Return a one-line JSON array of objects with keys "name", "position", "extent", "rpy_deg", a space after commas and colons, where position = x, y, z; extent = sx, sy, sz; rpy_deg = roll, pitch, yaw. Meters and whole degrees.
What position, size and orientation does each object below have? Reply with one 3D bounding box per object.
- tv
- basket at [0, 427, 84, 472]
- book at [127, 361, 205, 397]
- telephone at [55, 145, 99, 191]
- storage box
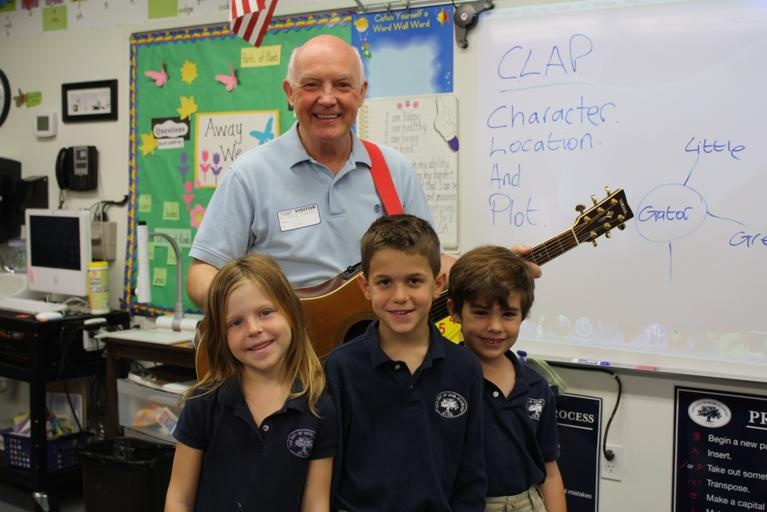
[{"name": "tv", "position": [-2.324, -0.007, 4.344], "extent": [0.621, 0.672, 0.226], "rpy_deg": [2, 1, 21]}, {"name": "basket", "position": [-2.298, 1.299, 4.097], "extent": [0.498, 0.231, 0.374], "rpy_deg": [-1, -2, 17]}, {"name": "book", "position": [-1.415, 0.789, 3.904], "extent": [0.373, 0.082, 0.370], "rpy_deg": [8, 11, 32]}, {"name": "telephone", "position": [-2.354, -0.678, 4.648], "extent": [0.336, 0.328, 0.206], "rpy_deg": [-4, 7, -16]}, {"name": "storage box", "position": [-1.469, 0.987, 3.952], "extent": [0.430, 0.318, 0.252], "rpy_deg": [8, 4, 1]}]
